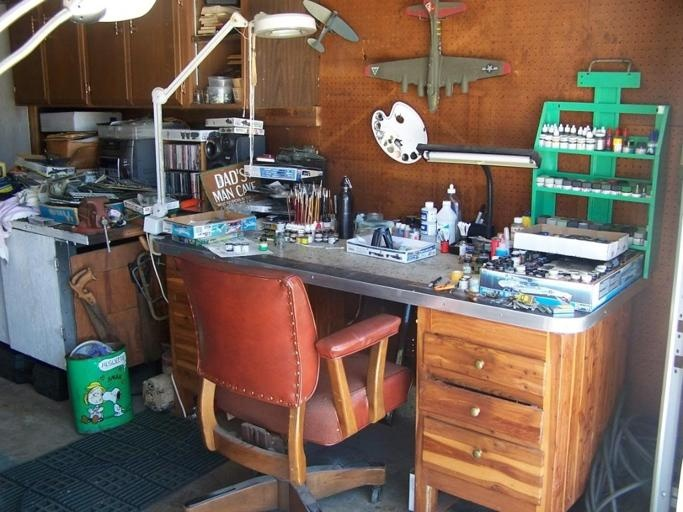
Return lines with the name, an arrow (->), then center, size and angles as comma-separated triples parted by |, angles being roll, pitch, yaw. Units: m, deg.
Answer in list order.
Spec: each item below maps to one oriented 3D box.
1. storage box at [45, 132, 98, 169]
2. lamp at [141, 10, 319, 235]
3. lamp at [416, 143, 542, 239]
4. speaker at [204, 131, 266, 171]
storage box -> -2.052, -0.776, 4.467 | 0.409, 0.263, 0.299 | 13, 15, 40
lamp -> -0.554, -0.760, 3.250 | 0.994, 1.198, 0.961 | 1, 14, 8
lamp -> 0.700, -0.311, 2.758 | 0.555, 0.428, 0.488 | 11, 18, 38
speaker -> -0.678, -0.643, 3.635 | 0.353, 0.245, 0.280 | -4, 2, 40
